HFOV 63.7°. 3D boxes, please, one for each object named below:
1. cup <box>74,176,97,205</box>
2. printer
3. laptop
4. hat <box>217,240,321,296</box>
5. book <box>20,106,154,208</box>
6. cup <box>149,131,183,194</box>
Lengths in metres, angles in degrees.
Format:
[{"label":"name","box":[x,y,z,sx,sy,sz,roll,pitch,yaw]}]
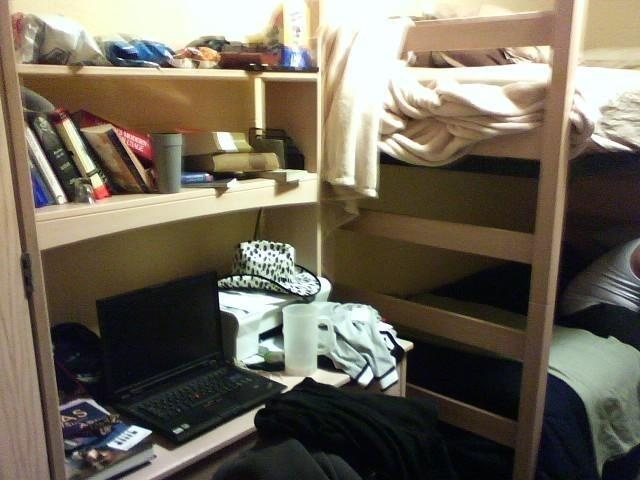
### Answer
[{"label":"cup","box":[-0.647,-0.130,1.453,0.071,0.081,0.056,1,5,1]},{"label":"printer","box":[-0.205,0.279,1.758,0.215,0.143,0.295,13,24,32]},{"label":"laptop","box":[-0.379,0.329,1.509,0.432,0.353,0.329,-20,28,-41]},{"label":"hat","box":[-0.174,0.112,1.916,0.288,0.120,0.229,7,0,-9]},{"label":"book","box":[-0.638,-0.245,1.440,0.104,0.241,0.251,-23,9,23]},{"label":"cup","box":[-0.454,-0.228,1.542,0.090,0.179,0.040,-7,22,-15]}]
